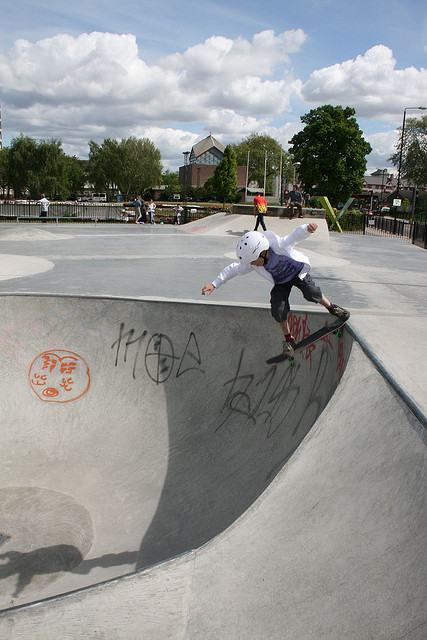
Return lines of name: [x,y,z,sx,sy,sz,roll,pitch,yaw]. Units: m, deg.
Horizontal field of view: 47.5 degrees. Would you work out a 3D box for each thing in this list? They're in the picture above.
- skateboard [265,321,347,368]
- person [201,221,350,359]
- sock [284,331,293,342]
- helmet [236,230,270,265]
skateboard: [0.897,0.235,4.588,0.592,0.088,0.154,-36,35,11]
person: [0.572,-0.276,4.444,1.322,1.119,0.655,-26,-1,27]
sock: [0.705,0.150,4.494,0.083,0.088,0.053,-1,54,20]
helmet: [0.334,-0.668,4.311,0.245,0.310,0.230,19,13,-25]
